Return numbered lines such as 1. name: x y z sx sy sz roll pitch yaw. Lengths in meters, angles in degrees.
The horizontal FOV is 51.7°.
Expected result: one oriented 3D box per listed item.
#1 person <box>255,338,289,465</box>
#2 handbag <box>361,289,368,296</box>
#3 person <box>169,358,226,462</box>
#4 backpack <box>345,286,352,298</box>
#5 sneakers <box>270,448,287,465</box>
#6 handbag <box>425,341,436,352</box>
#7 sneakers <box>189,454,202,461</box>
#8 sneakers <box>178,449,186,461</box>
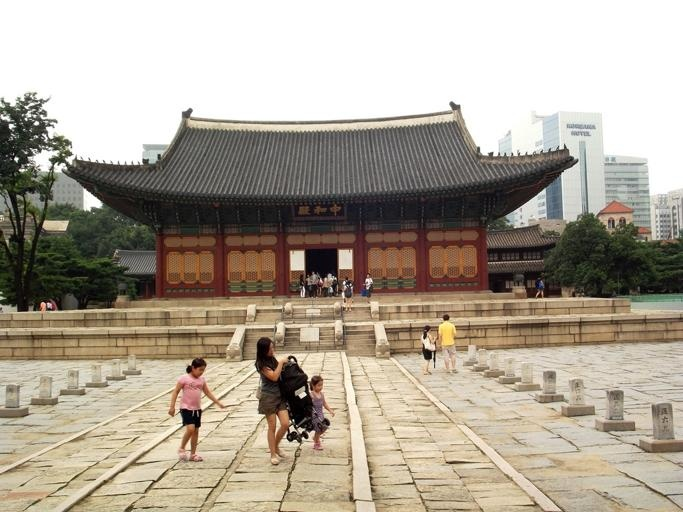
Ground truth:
1. person: -1.227 2.595 12.758 0.560 2.250 0.567 -3 -5 -7
2. handbag: 1.052 1.684 31.979 0.313 0.273 0.284 1 -6 9
3. person: -2.715 2.812 12.974 0.869 1.837 1.109 -3 -5 -11
4. backpack: 0.238 1.403 27.473 0.214 0.429 0.496 -3 -5 -9
5. sneakers: -1.137 3.612 12.752 0.224 0.212 0.486 -4 -5 11
6. handbag: 2.499 2.569 20.065 0.385 0.192 0.358 3 37 -2
7. sneakers: -2.639 3.649 12.746 0.209 0.076 0.100 -4 -5 35
8. sneakers: -2.897 3.606 12.842 0.169 0.198 0.239 -2 -5 -14
